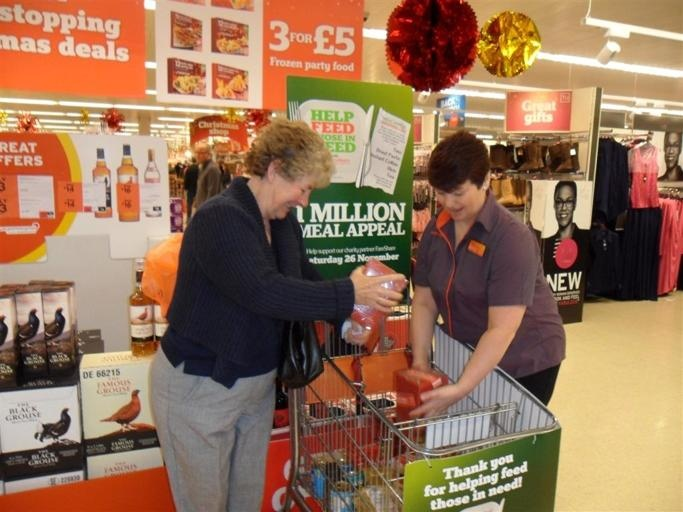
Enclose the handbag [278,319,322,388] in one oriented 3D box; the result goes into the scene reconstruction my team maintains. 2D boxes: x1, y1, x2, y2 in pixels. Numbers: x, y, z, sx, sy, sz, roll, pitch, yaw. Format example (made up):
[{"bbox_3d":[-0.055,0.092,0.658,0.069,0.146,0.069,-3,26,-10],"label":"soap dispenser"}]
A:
[{"bbox_3d":[-0.219,0.448,2.504,0.163,0.364,0.151,1,-25,-10],"label":"handbag"}]
